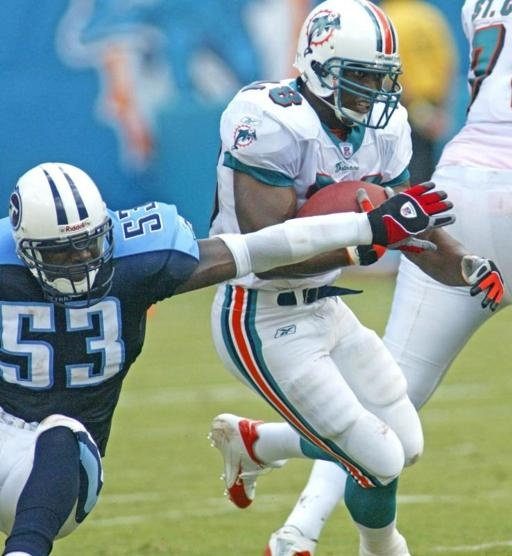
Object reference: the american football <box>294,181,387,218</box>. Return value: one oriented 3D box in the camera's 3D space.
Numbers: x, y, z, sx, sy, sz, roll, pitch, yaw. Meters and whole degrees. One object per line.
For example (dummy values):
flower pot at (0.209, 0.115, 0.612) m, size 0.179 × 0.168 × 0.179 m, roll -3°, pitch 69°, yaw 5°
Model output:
american football at (0.242, -0.222, 2.417) m, size 0.130 × 0.073 × 0.171 m, roll -18°, pitch 33°, yaw -38°
